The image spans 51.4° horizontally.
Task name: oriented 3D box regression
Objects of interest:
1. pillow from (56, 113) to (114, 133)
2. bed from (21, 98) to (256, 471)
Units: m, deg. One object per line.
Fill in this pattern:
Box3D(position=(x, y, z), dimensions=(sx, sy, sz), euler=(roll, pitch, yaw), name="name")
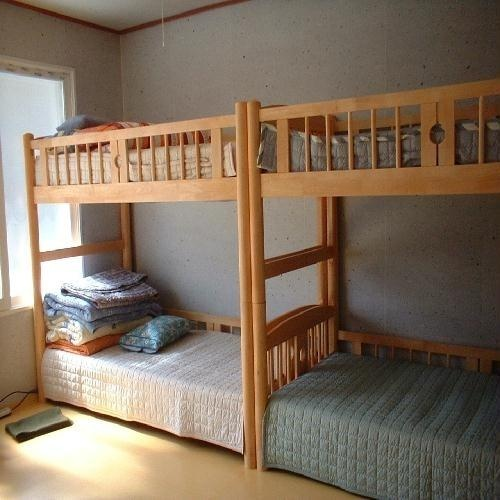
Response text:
Box3D(position=(-1.052, -0.773, 3.163), dimensions=(0.187, 0.087, 0.194), euler=(-12, 19, 19), name="pillow")
Box3D(position=(-0.703, 0.232, 3.109), dimensions=(1.950, 1.923, 0.777), euler=(4, 9, 36), name="bed")
